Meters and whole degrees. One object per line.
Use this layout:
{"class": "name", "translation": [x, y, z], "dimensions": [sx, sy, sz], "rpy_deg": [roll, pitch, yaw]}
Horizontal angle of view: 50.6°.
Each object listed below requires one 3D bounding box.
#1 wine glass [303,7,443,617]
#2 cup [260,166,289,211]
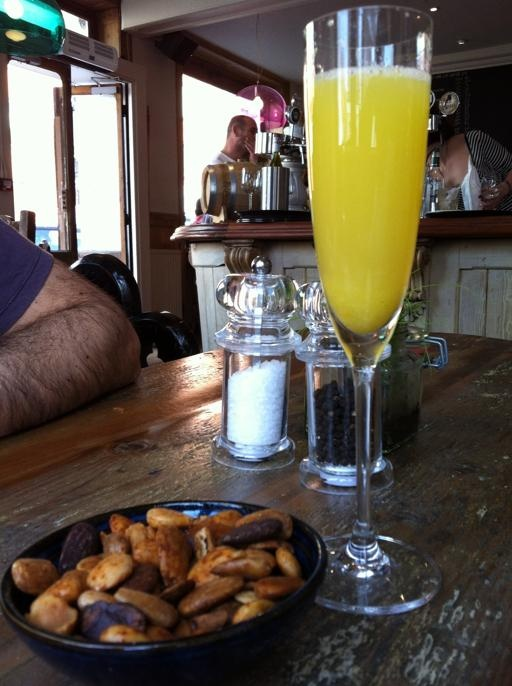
{"class": "wine glass", "translation": [0.073, -0.016, 0.345], "dimensions": [0.091, 0.341, 0.113], "rpy_deg": [-1, 6, -8]}
{"class": "cup", "translation": [0.078, -0.657, 2.301], "dimensions": [0.120, 0.170, 0.126], "rpy_deg": [0, 6, 0]}
